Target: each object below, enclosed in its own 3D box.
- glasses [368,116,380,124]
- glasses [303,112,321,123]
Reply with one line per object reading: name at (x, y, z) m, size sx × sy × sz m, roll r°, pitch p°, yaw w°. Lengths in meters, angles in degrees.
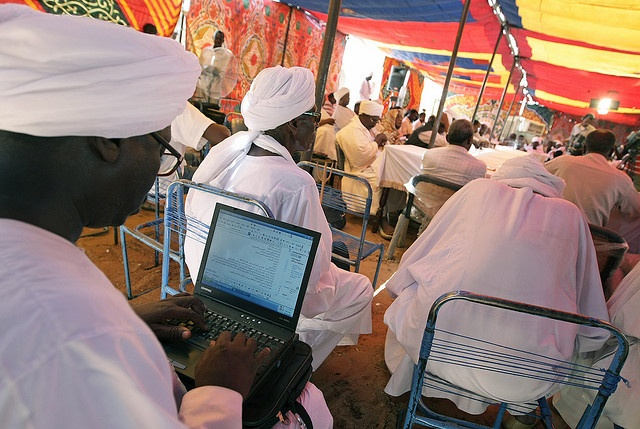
glasses at (0.850, -1.490, 6.200) m, size 0.147 × 0.047 × 0.148 m, roll 31°, pitch 16°, yaw 34°
glasses at (-0.047, -0.617, 2.524) m, size 0.078 × 0.024 × 0.077 m, roll 17°, pitch 15°, yaw 22°
